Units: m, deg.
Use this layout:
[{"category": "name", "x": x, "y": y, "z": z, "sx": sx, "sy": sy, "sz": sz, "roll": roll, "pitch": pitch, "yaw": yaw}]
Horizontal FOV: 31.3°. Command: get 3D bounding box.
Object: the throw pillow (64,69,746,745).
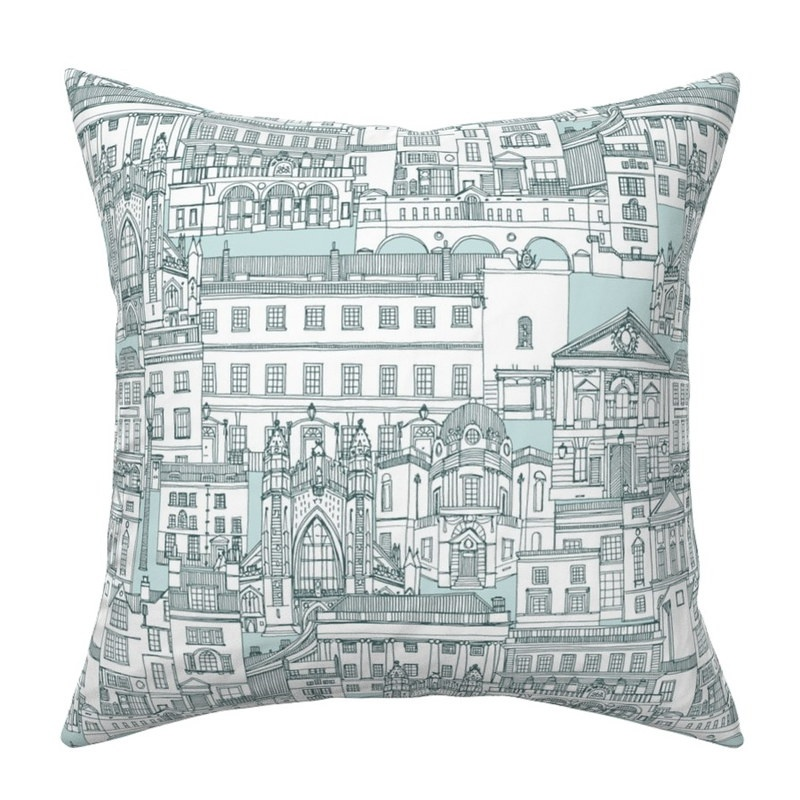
[{"category": "throw pillow", "x": -0.010, "y": 0.014, "z": 2.232, "sx": 1.060, "sy": 1.044, "sz": 0.357, "roll": 0, "pitch": 0, "yaw": -3}]
